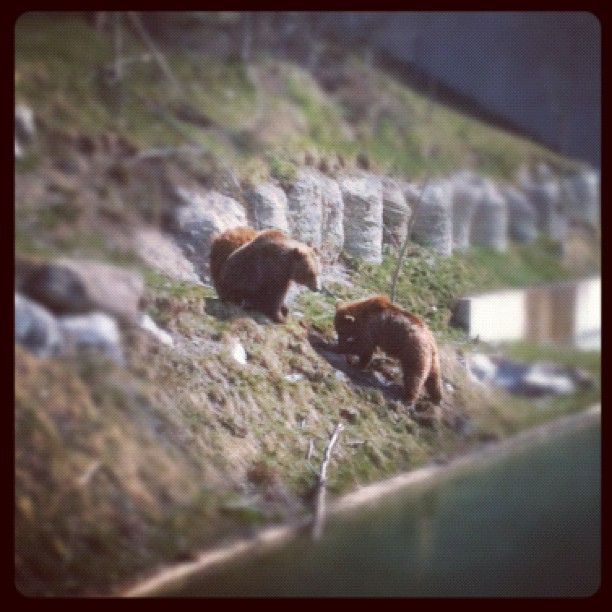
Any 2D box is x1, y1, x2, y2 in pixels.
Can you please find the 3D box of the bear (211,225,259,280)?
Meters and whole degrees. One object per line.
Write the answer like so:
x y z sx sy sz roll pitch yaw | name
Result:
-0.308 -0.230 5.329 0.210 0.206 0.065 3 9 -17 | bear

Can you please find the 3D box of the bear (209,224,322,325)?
-0.138 -0.143 5.433 0.533 0.354 0.302 6 15 41 | bear

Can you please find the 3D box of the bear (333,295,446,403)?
0.361 0.160 5.416 0.566 0.364 0.191 15 18 33 | bear
